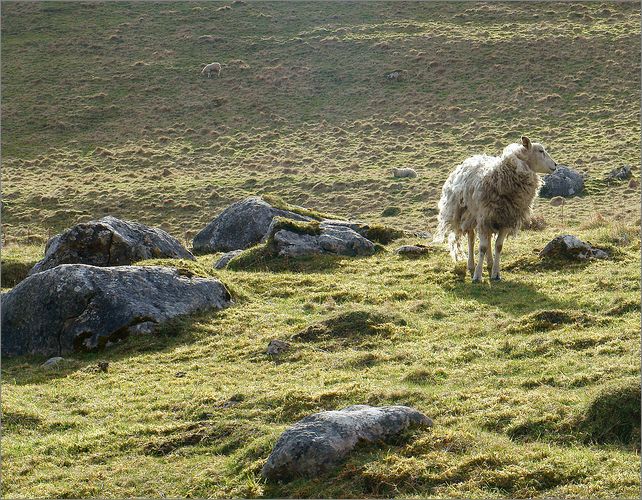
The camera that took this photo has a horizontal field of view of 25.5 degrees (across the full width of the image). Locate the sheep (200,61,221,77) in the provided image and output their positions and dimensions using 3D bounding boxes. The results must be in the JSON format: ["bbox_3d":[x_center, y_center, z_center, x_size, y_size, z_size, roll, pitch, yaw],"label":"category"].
[{"bbox_3d":[-9.868,-16.224,126.397,1.803,1.229,1.239,-4,16,-9],"label":"sheep"}]
